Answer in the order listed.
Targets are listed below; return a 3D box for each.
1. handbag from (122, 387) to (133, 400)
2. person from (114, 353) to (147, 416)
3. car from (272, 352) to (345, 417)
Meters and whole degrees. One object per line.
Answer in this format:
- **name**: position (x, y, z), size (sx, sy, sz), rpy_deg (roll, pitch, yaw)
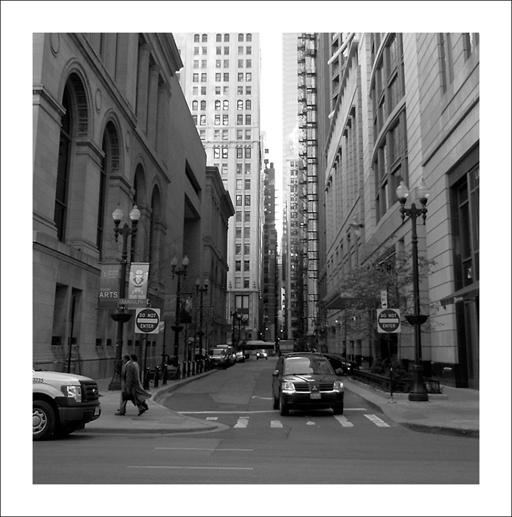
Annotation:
- **handbag**: position (-3.547, 3.763, 15.932), size (0.268, 0.302, 0.172), rpy_deg (2, -10, -13)
- **person**: position (-3.572, 3.656, 16.635), size (0.871, 1.725, 1.785), rpy_deg (2, -11, -14)
- **car**: position (1.551, 3.895, 17.741), size (1.948, 1.856, 2.580), rpy_deg (1, -11, -5)
